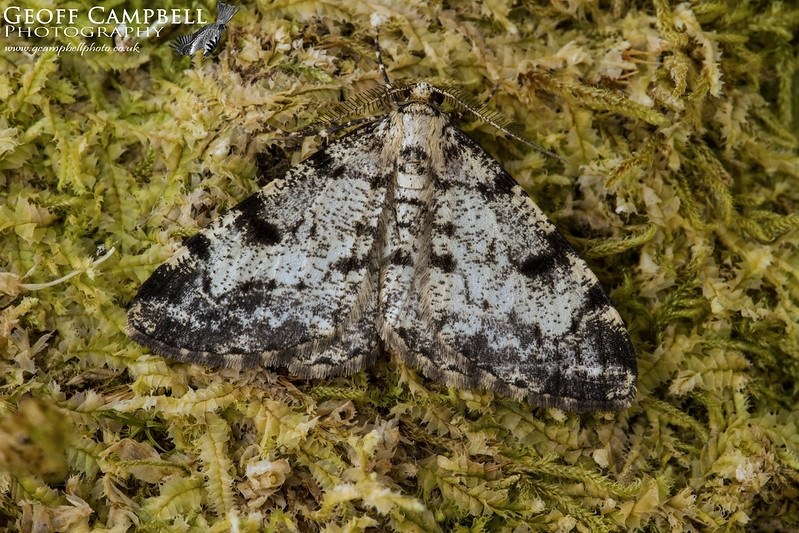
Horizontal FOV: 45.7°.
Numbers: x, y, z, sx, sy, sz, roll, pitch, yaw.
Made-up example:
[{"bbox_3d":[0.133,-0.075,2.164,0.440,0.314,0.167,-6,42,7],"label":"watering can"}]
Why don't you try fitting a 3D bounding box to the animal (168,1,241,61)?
[{"bbox_3d":[-0.946,-1.144,4.679,0.215,0.090,0.330,34,81,4],"label":"animal"}]
